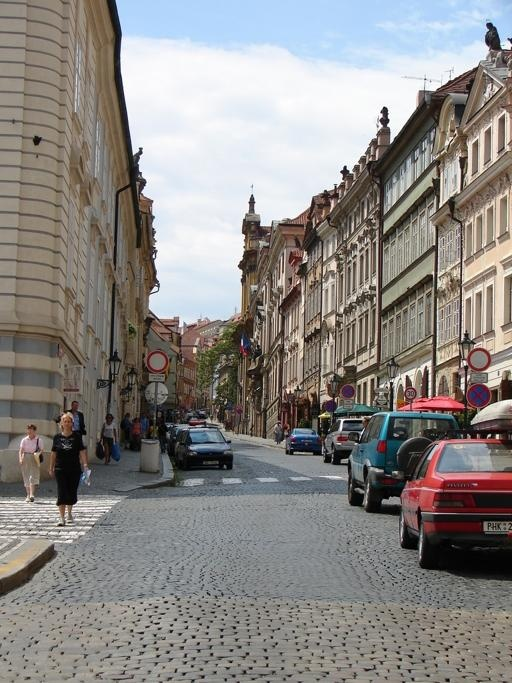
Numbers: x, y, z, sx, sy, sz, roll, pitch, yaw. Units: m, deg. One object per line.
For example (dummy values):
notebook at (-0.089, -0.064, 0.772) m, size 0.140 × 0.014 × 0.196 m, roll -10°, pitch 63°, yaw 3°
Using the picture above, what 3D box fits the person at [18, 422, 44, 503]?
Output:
person at (-4.913, 2.643, 17.433) m, size 0.456 × 1.641 × 1.009 m, roll 3°, pitch -6°, yaw -17°

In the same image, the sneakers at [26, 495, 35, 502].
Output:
sneakers at (-4.832, 3.368, 17.057) m, size 0.096 × 0.148 × 0.339 m, roll 2°, pitch -12°, yaw -12°

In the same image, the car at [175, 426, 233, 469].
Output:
car at (-2.195, 4.474, 34.002) m, size 1.263 × 1.266 × 2.809 m, roll 0°, pitch -11°, yaw -10°

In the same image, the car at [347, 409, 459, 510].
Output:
car at (2.901, 2.380, 16.564) m, size 1.493 × 1.638 × 2.923 m, roll -1°, pitch -2°, yaw -6°

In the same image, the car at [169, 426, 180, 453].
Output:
car at (-5.324, 6.246, 51.055) m, size 0.937 × 1.109 × 1.880 m, roll 1°, pitch 1°, yaw -6°

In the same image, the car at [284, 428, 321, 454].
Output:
car at (2.905, 6.153, 48.672) m, size 2.162 × 1.570 × 1.331 m, roll 0°, pitch -6°, yaw 15°

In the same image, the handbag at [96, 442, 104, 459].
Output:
handbag at (-6.592, 4.626, 33.781) m, size 0.343 × 0.659 × 0.761 m, roll 3°, pitch -6°, yaw -11°
